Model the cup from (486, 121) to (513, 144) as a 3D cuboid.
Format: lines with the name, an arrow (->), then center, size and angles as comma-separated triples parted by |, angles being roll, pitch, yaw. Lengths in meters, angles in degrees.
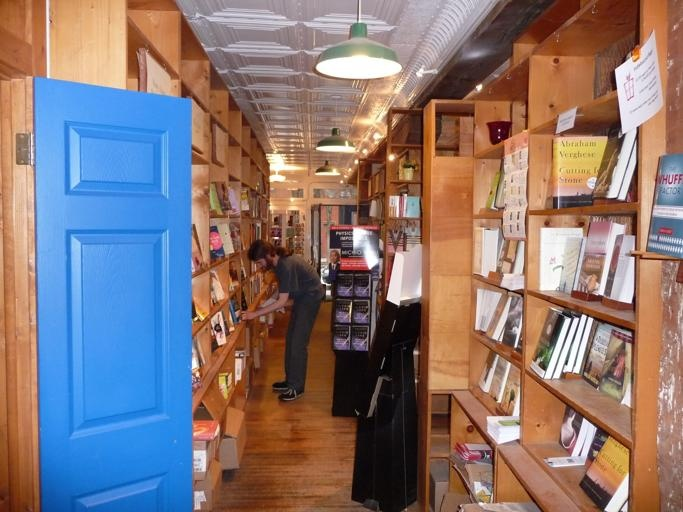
cup -> 1.030, -0.817, 3.400 | 0.156, 0.140, 0.164 | 0, 1, 0

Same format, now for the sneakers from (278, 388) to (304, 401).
sneakers -> -0.566, 1.551, 5.843 | 0.267, 0.114, 0.106 | 8, -6, -41

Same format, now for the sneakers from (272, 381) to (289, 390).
sneakers -> -0.725, 1.509, 6.092 | 0.199, 0.086, 0.114 | 6, 0, -13

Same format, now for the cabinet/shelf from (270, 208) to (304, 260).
cabinet/shelf -> -1.435, -0.558, 14.801 | 0.650, 1.217, 0.885 | -7, -13, 26

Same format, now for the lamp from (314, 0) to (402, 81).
lamp -> 0.099, -1.352, 3.141 | 0.493, 0.486, 0.506 | 0, 5, -15

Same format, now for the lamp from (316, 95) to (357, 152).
lamp -> -0.085, -1.588, 6.537 | 0.614, 0.386, 0.644 | 0, 2, 8
